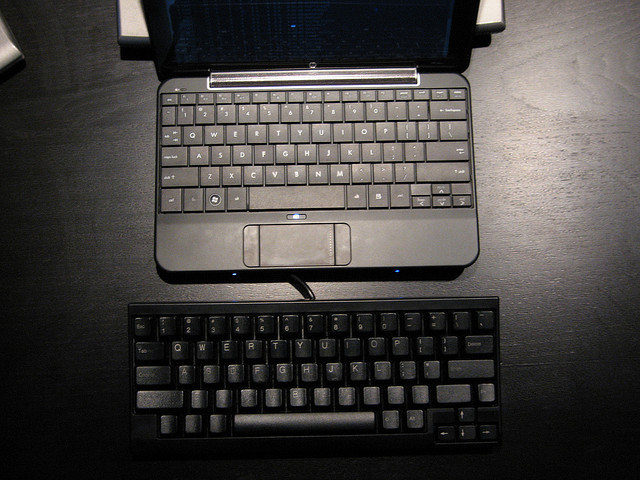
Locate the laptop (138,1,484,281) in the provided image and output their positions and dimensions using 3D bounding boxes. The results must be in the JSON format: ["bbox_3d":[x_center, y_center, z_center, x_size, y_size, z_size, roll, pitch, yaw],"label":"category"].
[{"bbox_3d":[-0.008,-0.168,1.007,0.534,0.110,0.434,-3,79,-2],"label":"laptop"}]
